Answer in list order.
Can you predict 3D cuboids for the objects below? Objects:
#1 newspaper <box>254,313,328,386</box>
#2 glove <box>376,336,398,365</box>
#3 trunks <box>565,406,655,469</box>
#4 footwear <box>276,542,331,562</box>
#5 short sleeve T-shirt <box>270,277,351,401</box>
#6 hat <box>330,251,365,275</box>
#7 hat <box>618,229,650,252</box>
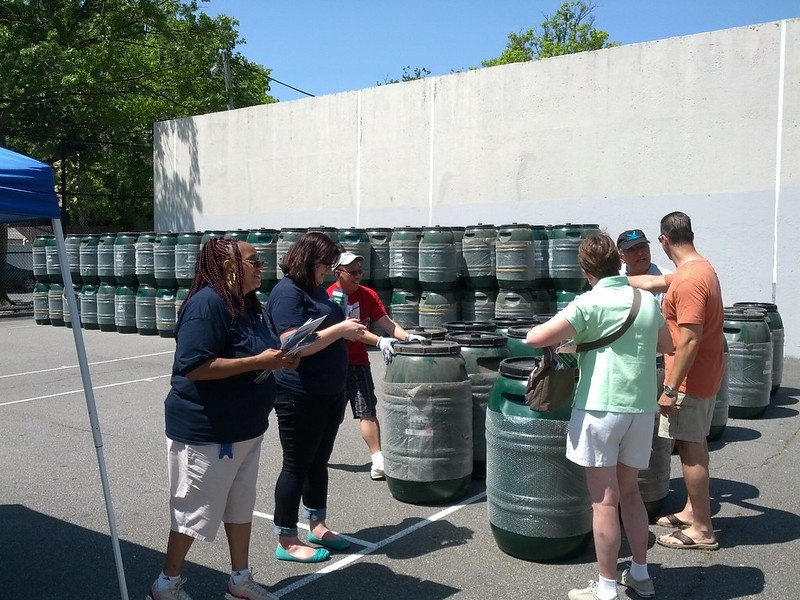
[{"bbox_3d":[-0.812,0.356,5.833,0.696,0.295,0.170,-39,-10,6],"label":"newspaper"},{"bbox_3d":[-0.104,0.463,7.194,0.178,0.270,0.398,-2,5,0],"label":"glove"},{"bbox_3d":[1.562,0.909,5.804,0.612,0.424,0.427,3,2,-8],"label":"trunks"},{"bbox_3d":[-0.788,2.070,6.424,0.398,0.157,0.159,-1,0,7],"label":"footwear"},{"bbox_3d":[-0.708,0.330,6.093,0.648,1.045,1.106,-1,2,9],"label":"short sleeve T-shirt"},{"bbox_3d":[-0.500,-0.345,7.251,0.251,0.100,0.173,-11,-5,43],"label":"hat"},{"bbox_3d":[2.257,-0.557,7.732,0.239,0.139,0.338,-6,1,5],"label":"hat"}]
